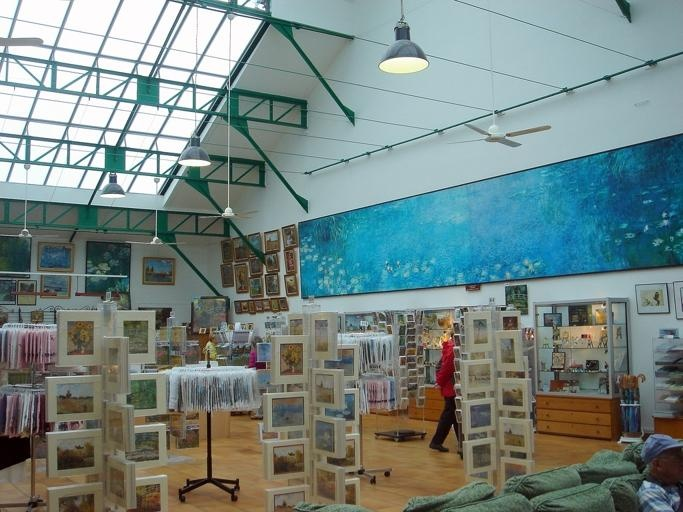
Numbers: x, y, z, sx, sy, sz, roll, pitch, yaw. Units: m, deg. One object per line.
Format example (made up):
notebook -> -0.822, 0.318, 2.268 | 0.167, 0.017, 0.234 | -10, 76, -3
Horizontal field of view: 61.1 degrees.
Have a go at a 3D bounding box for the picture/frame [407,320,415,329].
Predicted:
picture/frame -> 1.611, 1.625, 13.585 | 0.183, 0.125, 0.183 | -1, 2, -7

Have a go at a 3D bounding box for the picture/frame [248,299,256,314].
picture/frame -> -3.371, 1.935, 21.937 | 0.046, 0.609, 0.543 | -4, 4, -35

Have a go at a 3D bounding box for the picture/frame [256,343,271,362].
picture/frame -> -1.560, 1.953, 11.675 | 0.245, 0.363, 0.822 | 0, -9, -11

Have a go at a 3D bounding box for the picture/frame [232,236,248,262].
picture/frame -> -3.929, -0.261, 22.594 | 0.075, 0.944, 0.885 | 8, -14, -41

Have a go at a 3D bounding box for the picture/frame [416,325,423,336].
picture/frame -> 1.835, 1.794, 13.758 | 0.275, 0.262, 0.144 | 5, -8, -44

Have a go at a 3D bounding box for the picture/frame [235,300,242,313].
picture/frame -> -4.027, 2.017, 22.734 | 0.049, 0.415, 0.480 | 2, -8, -32

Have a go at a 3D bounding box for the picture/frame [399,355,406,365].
picture/frame -> 1.412, 2.407, 13.277 | 0.158, 0.183, 0.106 | -3, -8, 5

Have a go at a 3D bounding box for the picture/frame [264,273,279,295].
picture/frame -> -2.484, 1.021, 20.766 | 0.059, 0.752, 0.738 | 2, -5, -36

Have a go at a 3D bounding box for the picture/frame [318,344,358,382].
picture/frame -> -0.040, 1.260, 6.775 | 0.547, 0.482, 0.076 | -2, -6, 26

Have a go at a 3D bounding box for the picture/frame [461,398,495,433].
picture/frame -> 1.757, 2.071, 7.482 | 0.483, 0.414, 0.164 | 3, -6, -32

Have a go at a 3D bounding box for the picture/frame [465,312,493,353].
picture/frame -> 1.784, 1.022, 7.648 | 0.536, 0.703, 0.077 | 2, -5, -36

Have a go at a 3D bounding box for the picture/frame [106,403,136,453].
picture/frame -> -2.094, 1.640, 5.524 | 0.088, 0.445, 0.493 | 1, -4, -39

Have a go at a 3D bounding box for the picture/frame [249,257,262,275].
picture/frame -> -3.187, 0.414, 21.694 | 0.078, 0.569, 0.582 | 6, -11, -40

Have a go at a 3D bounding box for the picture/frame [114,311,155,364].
picture/frame -> -2.057, 0.821, 5.742 | 0.505, 0.668, 0.056 | 4, -12, -37

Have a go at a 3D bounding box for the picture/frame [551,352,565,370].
picture/frame -> 4.461, 2.192, 11.979 | 0.325, 0.455, 0.244 | -7, -14, 44

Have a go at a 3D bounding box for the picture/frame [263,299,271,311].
picture/frame -> -2.715, 1.796, 21.114 | 0.033, 0.405, 0.416 | 3, -8, -35

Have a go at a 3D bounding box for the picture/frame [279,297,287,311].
picture/frame -> -2.021, 1.679, 20.240 | 0.034, 0.471, 0.461 | 1, -5, -40

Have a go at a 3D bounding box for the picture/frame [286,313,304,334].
picture/frame -> -0.542, 0.812, 6.827 | 0.249, 0.281, 0.045 | -1, 1, 36

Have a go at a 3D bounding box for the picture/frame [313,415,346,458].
picture/frame -> -0.133, 1.984, 6.322 | 0.073, 0.427, 0.491 | 2, -5, -40

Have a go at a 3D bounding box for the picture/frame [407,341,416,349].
picture/frame -> 1.599, 2.086, 13.451 | 0.167, 0.158, 0.039 | 5, -11, -13

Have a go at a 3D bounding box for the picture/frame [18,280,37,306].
picture/frame -> -11.177, 1.318, 20.749 | 0.686, 0.969, 0.841 | 6, -11, -41

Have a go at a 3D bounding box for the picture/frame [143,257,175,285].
picture/frame -> -7.486, 0.653, 23.638 | 1.116, 0.960, 0.104 | 5, -13, -38

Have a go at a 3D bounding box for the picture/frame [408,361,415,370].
picture/frame -> 1.589, 2.525, 13.249 | 0.128, 0.103, 0.138 | 1, -7, -5

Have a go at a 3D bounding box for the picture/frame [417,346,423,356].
picture/frame -> 1.816, 2.239, 13.585 | 0.033, 0.195, 0.228 | -6, -9, 42

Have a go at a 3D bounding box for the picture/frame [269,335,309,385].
picture/frame -> -0.585, 1.182, 6.531 | 0.553, 0.733, 0.098 | 2, -6, -30

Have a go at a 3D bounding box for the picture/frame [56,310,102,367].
picture/frame -> -2.582, 0.823, 5.699 | 0.542, 0.730, 0.073 | 2, -7, -35

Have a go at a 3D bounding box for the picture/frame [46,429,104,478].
picture/frame -> -2.581, 1.932, 5.647 | 0.486, 0.417, 0.062 | 2, -8, -32

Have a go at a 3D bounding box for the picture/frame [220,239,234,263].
picture/frame -> -4.588, -0.194, 23.389 | 0.100, 0.957, 0.859 | 6, -10, -40

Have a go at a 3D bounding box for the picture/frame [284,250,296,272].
picture/frame -> -1.746, 0.184, 19.717 | 0.105, 0.759, 0.676 | 5, -10, -33

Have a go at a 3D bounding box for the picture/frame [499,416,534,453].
picture/frame -> 2.251, 2.318, 7.490 | 0.500, 0.484, 0.066 | -3, -4, 44

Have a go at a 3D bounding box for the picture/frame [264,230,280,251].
picture/frame -> -2.445, -0.524, 20.631 | 0.056, 0.713, 0.731 | 6, -8, -41

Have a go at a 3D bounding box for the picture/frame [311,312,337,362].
picture/frame -> -0.192, 0.910, 6.497 | 0.090, 0.683, 0.493 | 8, -11, -44

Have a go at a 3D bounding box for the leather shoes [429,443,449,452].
leather shoes -> 1.736, 3.456, 10.376 | 0.336, 0.148, 0.116 | 6, -1, 20
